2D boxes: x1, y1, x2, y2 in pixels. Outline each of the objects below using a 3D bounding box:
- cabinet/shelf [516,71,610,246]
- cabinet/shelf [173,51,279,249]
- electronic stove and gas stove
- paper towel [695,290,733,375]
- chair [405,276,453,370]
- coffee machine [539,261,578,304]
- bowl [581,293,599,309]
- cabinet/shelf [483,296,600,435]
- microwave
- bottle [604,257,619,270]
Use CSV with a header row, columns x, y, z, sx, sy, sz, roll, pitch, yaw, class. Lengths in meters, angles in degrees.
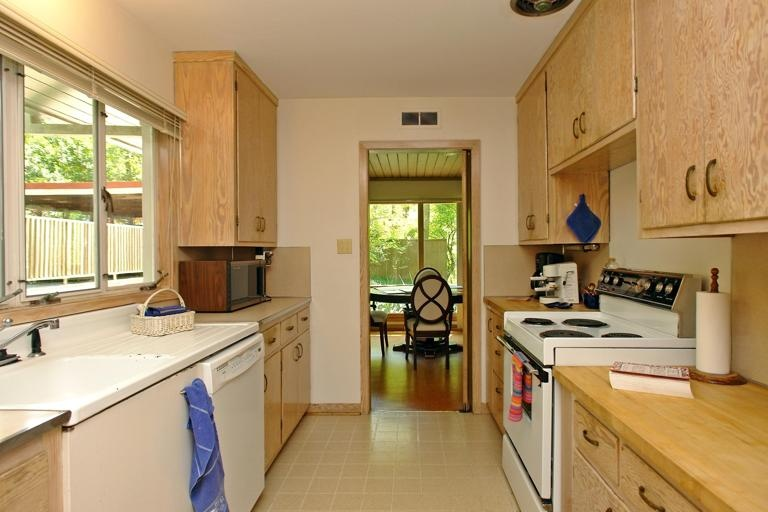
x,y,z,sx,sy,sz,roll,pitch,yaw,class
1.196,-0.636,3.580,0.474,1.177,1.240,1,1,5,cabinet/shelf
-1.095,-0.736,3.715,0.457,1.222,1.297,1,1,5,cabinet/shelf
1.142,0.412,3.171,0.694,0.113,0.759,-1,9,-3,electronic stove and gas stove
1.527,0.359,2.528,0.154,0.373,0.079,5,11,28,paper towel
0.487,0.665,5.793,0.473,1.046,0.818,0,9,2,chair
1.271,0.187,3.883,0.292,0.367,0.274,1,0,11,coffee machine
1.405,0.300,3.706,0.052,0.104,0.135,-1,9,-3,bowl
1.088,0.615,4.297,0.800,1.285,1.334,1,0,5,cabinet/shelf
-1.044,0.206,3.761,0.629,0.380,0.312,-8,12,-41,microwave
1.493,0.048,3.560,0.076,0.072,0.076,1,7,17,bottle
